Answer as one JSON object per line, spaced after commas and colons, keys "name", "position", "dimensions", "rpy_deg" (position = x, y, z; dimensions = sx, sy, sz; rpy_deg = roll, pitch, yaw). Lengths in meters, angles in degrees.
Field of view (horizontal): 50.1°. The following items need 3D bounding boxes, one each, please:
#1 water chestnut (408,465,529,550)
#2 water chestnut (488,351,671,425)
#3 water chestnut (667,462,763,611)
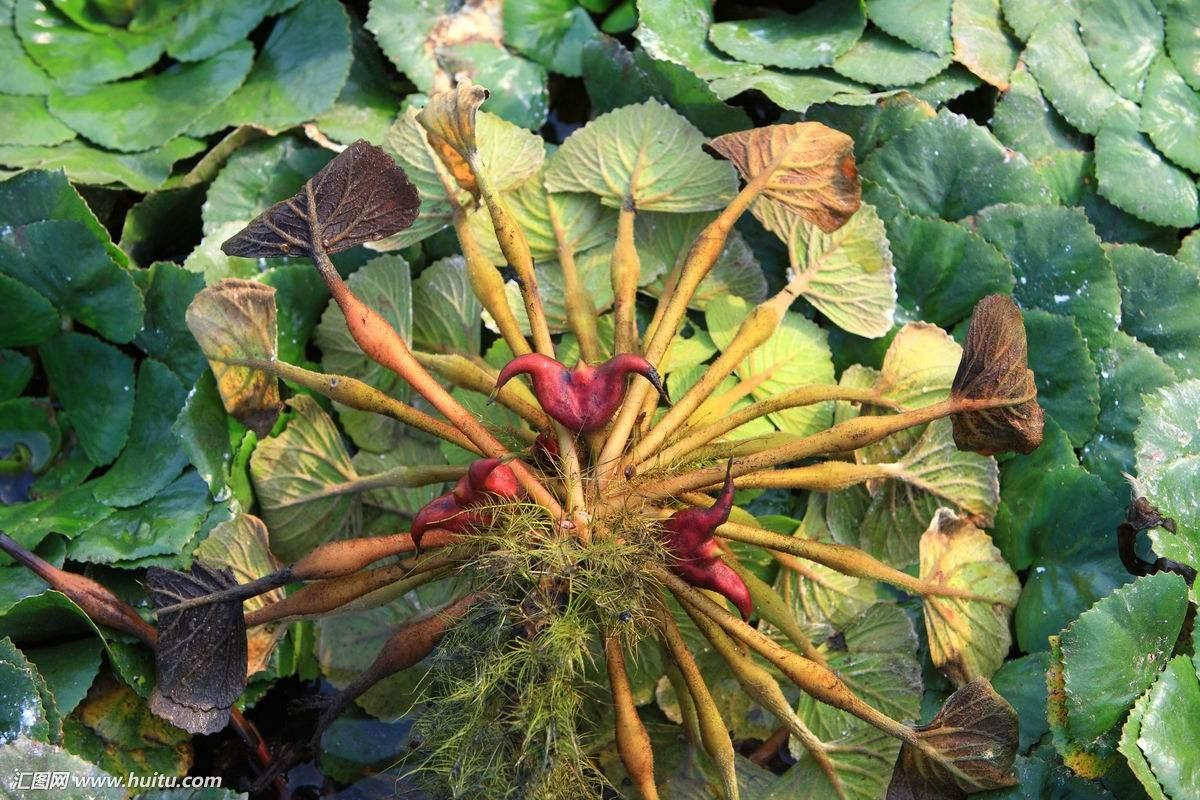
{"name": "water chestnut", "position": [-0.166, 0.133, 1.656], "dimensions": [0.083, 0.069, 0.150], "rpy_deg": [38, 92, 24]}
{"name": "water chestnut", "position": [-0.025, 0.000, 1.670], "dimensions": [0.223, 0.070, 0.119], "rpy_deg": [-1, 93, -3]}
{"name": "water chestnut", "position": [0.141, 0.183, 1.641], "dimensions": [0.068, 0.157, 0.193], "rpy_deg": [-5, 21, -39]}
